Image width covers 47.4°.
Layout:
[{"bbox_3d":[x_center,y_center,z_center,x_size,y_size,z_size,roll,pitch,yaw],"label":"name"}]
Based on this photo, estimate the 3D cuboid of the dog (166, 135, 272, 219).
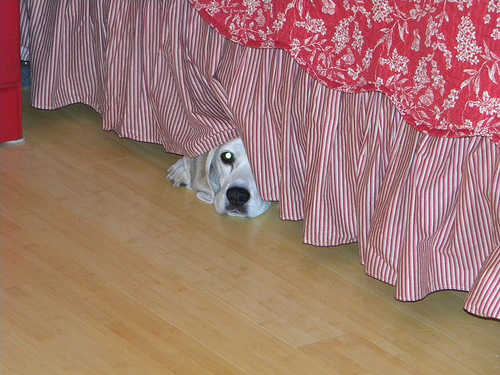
[{"bbox_3d":[-0.126,-0.043,2.203,0.407,0.131,0.359,-10,45,-9],"label":"dog"}]
